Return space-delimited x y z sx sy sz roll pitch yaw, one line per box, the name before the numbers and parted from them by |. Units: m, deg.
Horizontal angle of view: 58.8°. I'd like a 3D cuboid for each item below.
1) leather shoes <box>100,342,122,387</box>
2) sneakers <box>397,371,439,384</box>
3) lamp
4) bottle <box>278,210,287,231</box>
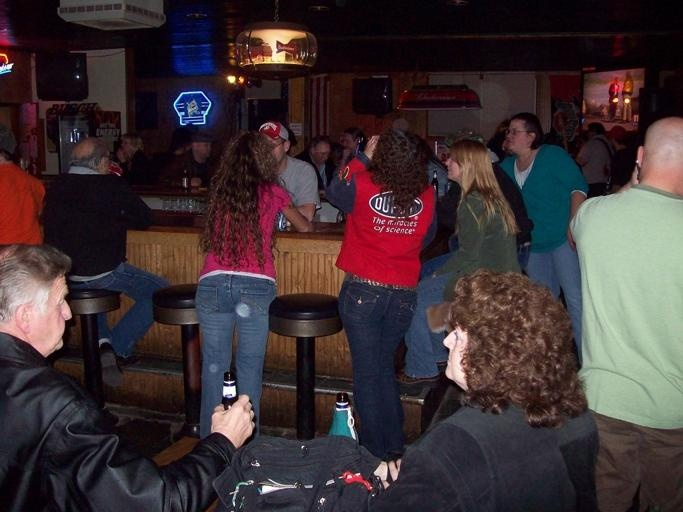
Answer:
leather shoes | -1.515 0.720 4.019 0.115 0.305 0.118 -18 10 -21
sneakers | 0.474 0.752 3.752 0.249 0.106 0.091 2 10 5
lamp | -0.495 -1.698 4.841 0.504 0.743 0.508 2 9 6
bottle | -0.388 -0.234 3.910 0.088 0.158 0.089 3 19 -1
